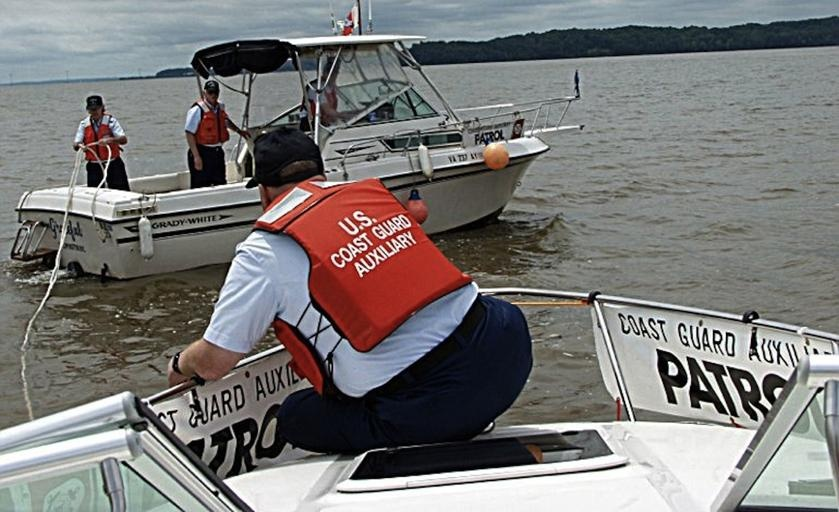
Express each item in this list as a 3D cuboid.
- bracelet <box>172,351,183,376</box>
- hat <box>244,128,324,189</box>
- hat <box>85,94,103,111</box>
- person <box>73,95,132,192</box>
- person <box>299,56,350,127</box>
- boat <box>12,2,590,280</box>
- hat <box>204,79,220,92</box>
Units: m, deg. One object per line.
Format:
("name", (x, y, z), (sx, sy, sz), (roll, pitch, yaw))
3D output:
("bracelet", (-1.364, 0.619, 4.561), (0.111, 0.122, 0.054), (-13, -13, 37))
("hat", (-0.779, -0.577, 4.587), (0.314, 0.224, 0.421), (-17, 21, -27))
("hat", (-4.392, -2.098, 10.716), (0.190, 0.128, 0.253), (-12, 17, -12))
("person", (-4.310, -1.521, 10.731), (0.639, 1.323, 0.671), (-10, 14, -20))
("person", (-1.290, -2.263, 10.834), (0.553, 0.925, 0.341), (-6, 14, -3))
("boat", (-0.842, -1.908, 12.230), (10.040, 2.836, 3.349), (-8, 16, -28))
("hat", (-2.827, -2.334, 10.836), (0.191, 0.160, 0.104), (-9, 14, -20))
